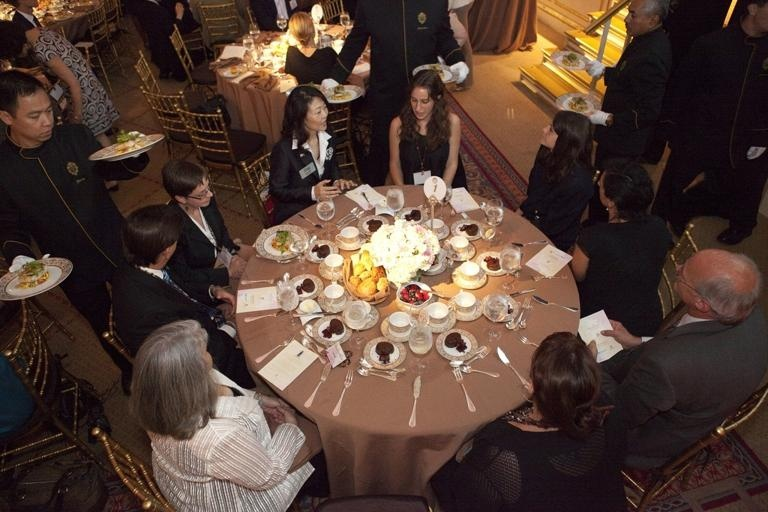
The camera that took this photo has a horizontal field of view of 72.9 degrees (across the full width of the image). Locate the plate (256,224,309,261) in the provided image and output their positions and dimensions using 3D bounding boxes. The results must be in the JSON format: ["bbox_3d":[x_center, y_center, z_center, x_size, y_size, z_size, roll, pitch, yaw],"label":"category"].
[{"bbox_3d":[-0.819,-0.119,4.152,0.324,0.058,0.330,0,52,1],"label":"plate"}]

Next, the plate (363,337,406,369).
[{"bbox_3d":[0.002,0.667,3.569,0.275,0.095,0.230,14,48,17],"label":"plate"}]

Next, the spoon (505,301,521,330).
[{"bbox_3d":[0.935,0.435,3.742,0.058,0.045,0.308,18,34,17],"label":"spoon"}]

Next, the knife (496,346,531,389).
[{"bbox_3d":[0.874,0.772,3.525,0.040,0.034,0.289,-31,58,-7],"label":"knife"}]

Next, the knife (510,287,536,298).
[{"bbox_3d":[1.030,0.278,3.880,0.221,0.026,0.026,-10,57,-11],"label":"knife"}]

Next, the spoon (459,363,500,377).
[{"bbox_3d":[0.642,0.781,3.528,0.250,0.037,0.051,10,81,6],"label":"spoon"}]

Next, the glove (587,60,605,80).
[{"bbox_3d":[2.431,-2.114,5.986,0.211,0.097,0.280,1,53,11],"label":"glove"}]

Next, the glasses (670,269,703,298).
[{"bbox_3d":[2.152,0.202,3.701,0.260,0.202,0.121,44,105,17],"label":"glasses"}]

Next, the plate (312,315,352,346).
[{"bbox_3d":[-0.377,0.510,3.629,0.208,0.028,0.210,-14,52,-12],"label":"plate"}]

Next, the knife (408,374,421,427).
[{"bbox_3d":[0.204,0.953,3.420,0.051,0.025,0.380,5,42,8],"label":"knife"}]

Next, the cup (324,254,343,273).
[{"bbox_3d":[-0.385,0.049,3.973,0.122,0.057,0.124,1,52,-1],"label":"cup"}]

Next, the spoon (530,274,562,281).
[{"bbox_3d":[1.236,0.176,3.999,0.239,0.035,0.060,2,65,1],"label":"spoon"}]

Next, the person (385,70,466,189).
[{"bbox_3d":[0.391,-1.186,5.065,0.693,1.125,0.427,-2,45,3],"label":"person"}]

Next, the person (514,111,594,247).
[{"bbox_3d":[1.597,-0.679,4.875,0.565,1.714,0.686,-6,60,1],"label":"person"}]

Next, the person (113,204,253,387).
[{"bbox_3d":[-1.600,0.476,4.252,1.059,1.814,0.771,-17,36,-37],"label":"person"}]

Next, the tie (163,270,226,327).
[{"bbox_3d":[-1.499,0.358,4.124,0.142,0.536,0.298,-42,20,13],"label":"tie"}]

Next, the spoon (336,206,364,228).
[{"bbox_3d":[-0.285,-0.320,4.400,0.108,0.048,0.282,34,54,28],"label":"spoon"}]

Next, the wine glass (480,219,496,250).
[{"bbox_3d":[0.840,-0.166,4.211,0.120,0.189,0.126,-44,45,-8],"label":"wine glass"}]

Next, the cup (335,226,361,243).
[{"bbox_3d":[-0.299,-0.167,4.147,0.154,0.112,0.119,-6,53,7],"label":"cup"}]

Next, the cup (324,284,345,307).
[{"bbox_3d":[-0.362,0.283,3.814,0.136,0.107,0.151,-17,52,-11],"label":"cup"}]

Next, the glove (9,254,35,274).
[{"bbox_3d":[-2.740,0.062,3.916,0.110,0.064,0.175,10,18,-15],"label":"glove"}]

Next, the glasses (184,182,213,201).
[{"bbox_3d":[-1.510,-0.518,4.293,0.149,0.045,0.148,17,42,15],"label":"glasses"}]

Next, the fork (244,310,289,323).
[{"bbox_3d":[-0.858,0.446,3.807,0.297,0.036,0.040,-9,77,-6],"label":"fork"}]

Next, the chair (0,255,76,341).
[{"bbox_3d":[-2.806,0.353,4.225,0.477,0.514,0.459,41,59,3],"label":"chair"}]

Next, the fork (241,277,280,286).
[{"bbox_3d":[-0.946,0.197,3.996,0.300,0.050,0.055,1,79,-6],"label":"fork"}]

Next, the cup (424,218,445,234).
[{"bbox_3d":[0.406,-0.257,4.235,0.131,0.073,0.131,-1,47,1],"label":"cup"}]

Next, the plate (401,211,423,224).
[{"bbox_3d":[0.242,-0.331,4.325,0.122,0.047,0.124,4,40,12],"label":"plate"}]

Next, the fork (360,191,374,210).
[{"bbox_3d":[-0.147,-0.489,4.531,0.096,0.038,0.149,-26,53,6],"label":"fork"}]

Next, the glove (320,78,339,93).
[{"bbox_3d":[-0.599,-1.858,5.669,0.141,0.067,0.201,-15,54,-14],"label":"glove"}]

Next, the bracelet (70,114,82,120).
[{"bbox_3d":[-3.365,-1.528,5.689,0.073,0.037,0.093,-4,18,-34],"label":"bracelet"}]

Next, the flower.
[{"bbox_3d":[0.129,-0.051,3.805,0.459,0.445,0.455,-33,51,-27],"label":"flower"}]

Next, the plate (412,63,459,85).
[{"bbox_3d":[0.561,-1.893,5.364,0.372,0.054,0.379,7,48,-2],"label":"plate"}]

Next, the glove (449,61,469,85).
[{"bbox_3d":[0.768,-1.967,5.534,0.236,0.107,0.294,-9,78,-2],"label":"glove"}]

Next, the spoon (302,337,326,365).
[{"bbox_3d":[-0.488,0.653,3.684,0.286,0.050,0.083,38,83,32],"label":"spoon"}]
